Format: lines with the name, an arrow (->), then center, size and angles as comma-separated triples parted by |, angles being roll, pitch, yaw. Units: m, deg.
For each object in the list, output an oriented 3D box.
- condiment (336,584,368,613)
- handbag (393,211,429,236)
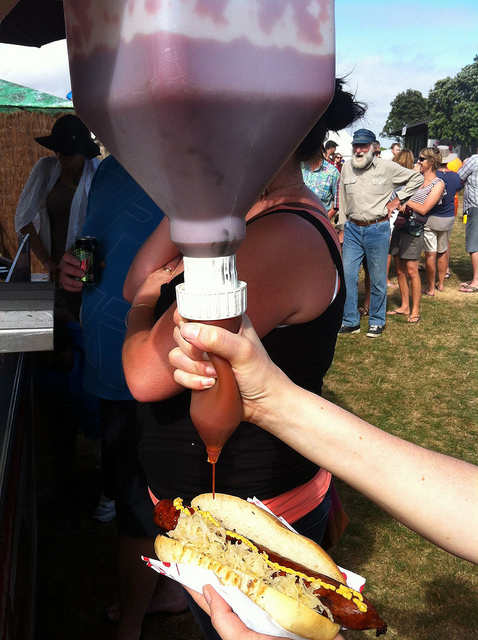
condiment -> 0.226, 0.532, 0.943 | 0.024, 0.010, 0.040 | 2, 22, -31
handbag -> 2.322, -1.240, 6.544 | 0.335, 0.170, 0.434 | 35, 57, 30
